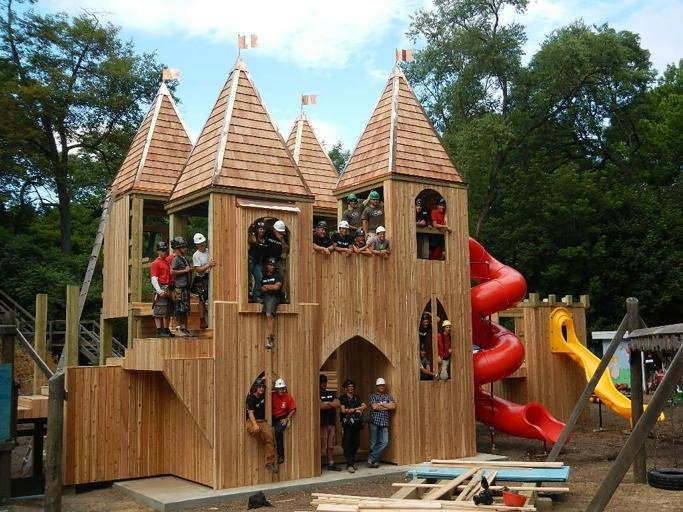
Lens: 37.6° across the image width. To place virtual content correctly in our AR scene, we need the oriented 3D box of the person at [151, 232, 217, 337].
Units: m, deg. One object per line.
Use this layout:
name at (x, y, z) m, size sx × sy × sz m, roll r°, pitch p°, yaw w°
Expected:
person at (-4.313, 0.792, 26.510) m, size 1.527 × 2.706 × 1.101 m, roll -1°, pitch -9°, yaw 12°

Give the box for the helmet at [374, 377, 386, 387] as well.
helmet at (1.077, 3.512, 27.909) m, size 0.243 × 0.160 × 0.323 m, roll 0°, pitch -15°, yaw -2°

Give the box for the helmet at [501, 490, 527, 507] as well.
helmet at (4.092, 5.861, 23.929) m, size 0.465 × 0.301 × 0.422 m, roll -15°, pitch -27°, yaw 32°

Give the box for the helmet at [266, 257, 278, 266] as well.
helmet at (-1.807, 0.162, 26.533) m, size 0.189 × 0.266 × 0.388 m, roll -4°, pitch -10°, yaw 27°

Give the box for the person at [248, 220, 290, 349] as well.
person at (-1.764, 0.769, 26.935) m, size 1.015 × 3.467 × 1.452 m, roll 1°, pitch -2°, yaw -20°

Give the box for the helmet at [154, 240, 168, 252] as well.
helmet at (-4.813, -0.293, 26.895) m, size 0.335 × 0.249 × 0.473 m, roll 4°, pitch -8°, yaw -30°

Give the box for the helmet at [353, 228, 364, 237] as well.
helmet at (0.499, -0.648, 28.249) m, size 0.186 × 0.169 × 0.275 m, roll 3°, pitch -7°, yaw -17°

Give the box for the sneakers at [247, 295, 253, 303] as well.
sneakers at (-2.413, 1.154, 26.571) m, size 0.075 × 0.196 × 0.144 m, roll 1°, pitch -1°, yaw -23°

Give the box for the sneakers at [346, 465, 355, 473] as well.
sneakers at (0.241, 5.767, 27.026) m, size 0.131 × 0.134 × 0.335 m, roll 2°, pitch -13°, yaw -20°

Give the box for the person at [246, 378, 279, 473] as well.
person at (-2.057, 4.404, 26.052) m, size 0.836 × 2.312 × 0.331 m, roll 7°, pitch -11°, yaw -35°

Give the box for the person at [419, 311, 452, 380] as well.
person at (2.689, 2.595, 28.643) m, size 0.995 × 1.926 × 0.478 m, roll 1°, pitch -9°, yaw -4°

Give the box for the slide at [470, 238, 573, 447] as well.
slide at (5.153, 2.526, 30.763) m, size 2.378 × 6.375 × 2.358 m, roll -1°, pitch -9°, yaw 7°

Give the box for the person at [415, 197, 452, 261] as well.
person at (2.680, -0.915, 29.448) m, size 0.947 × 2.100 × 1.516 m, roll -1°, pitch -9°, yaw 7°

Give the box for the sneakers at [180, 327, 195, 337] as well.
sneakers at (-4.070, 2.028, 26.495) m, size 0.233 × 0.293 × 0.683 m, roll 1°, pitch -7°, yaw -40°

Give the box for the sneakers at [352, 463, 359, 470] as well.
sneakers at (0.372, 5.793, 27.362) m, size 0.082 × 0.178 × 0.192 m, roll 5°, pitch -25°, yaw -13°

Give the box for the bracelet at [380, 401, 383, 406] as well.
bracelet at (1.111, 4.093, 27.516) m, size 0.092 × 0.110 × 0.070 m, roll 0°, pitch -9°, yaw 4°

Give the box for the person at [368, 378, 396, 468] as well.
person at (1.075, 4.616, 27.703) m, size 0.690 × 2.462 × 0.704 m, roll 7°, pitch -11°, yaw -37°

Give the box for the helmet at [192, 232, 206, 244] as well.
helmet at (-3.757, -0.433, 26.486) m, size 0.423 × 0.291 × 0.549 m, roll -13°, pitch 3°, yaw -23°

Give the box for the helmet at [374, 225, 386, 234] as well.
helmet at (1.104, -0.723, 28.214) m, size 0.280 × 0.275 × 0.461 m, roll 0°, pitch -9°, yaw 1°

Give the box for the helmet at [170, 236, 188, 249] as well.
helmet at (-4.266, -0.336, 26.418) m, size 0.340 × 0.282 × 0.294 m, roll 5°, pitch -3°, yaw -13°

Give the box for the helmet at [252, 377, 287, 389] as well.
helmet at (-1.831, 3.342, 26.146) m, size 0.569 × 0.285 × 0.364 m, roll -3°, pitch -11°, yaw 3°

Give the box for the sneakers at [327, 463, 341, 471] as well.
sneakers at (-0.212, 5.788, 27.304) m, size 0.429 × 0.183 × 0.155 m, roll -6°, pitch -8°, yaw 28°

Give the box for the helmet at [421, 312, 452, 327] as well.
helmet at (2.533, 1.876, 29.031) m, size 0.494 × 0.350 × 0.667 m, roll 1°, pitch -1°, yaw -12°

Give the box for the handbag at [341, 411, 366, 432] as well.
handbag at (0.302, 4.493, 27.065) m, size 0.572 × 0.533 × 0.411 m, roll -5°, pitch -15°, yaw 18°
